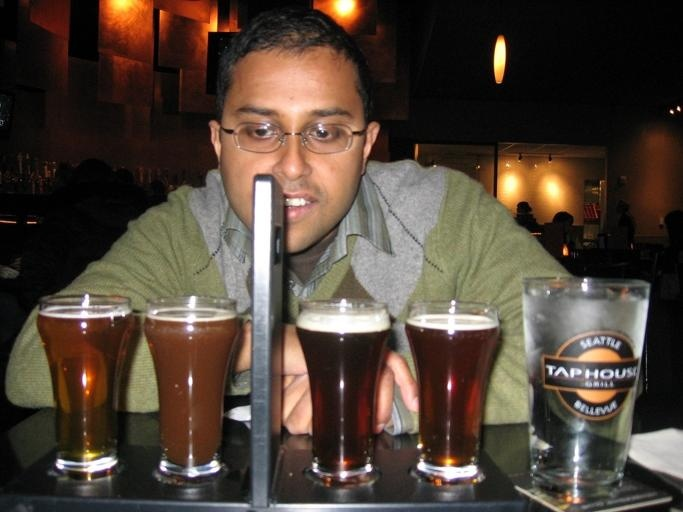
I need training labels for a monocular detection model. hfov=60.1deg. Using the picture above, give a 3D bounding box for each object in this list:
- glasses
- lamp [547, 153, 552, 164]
[{"bbox_3d":[-0.138,-0.322,1.606,0.341,0.086,0.075,1,2,-2],"label":"glasses"},{"bbox_3d":[3.723,-1.753,10.499,0.084,0.155,0.036,0,13,1],"label":"lamp"}]
